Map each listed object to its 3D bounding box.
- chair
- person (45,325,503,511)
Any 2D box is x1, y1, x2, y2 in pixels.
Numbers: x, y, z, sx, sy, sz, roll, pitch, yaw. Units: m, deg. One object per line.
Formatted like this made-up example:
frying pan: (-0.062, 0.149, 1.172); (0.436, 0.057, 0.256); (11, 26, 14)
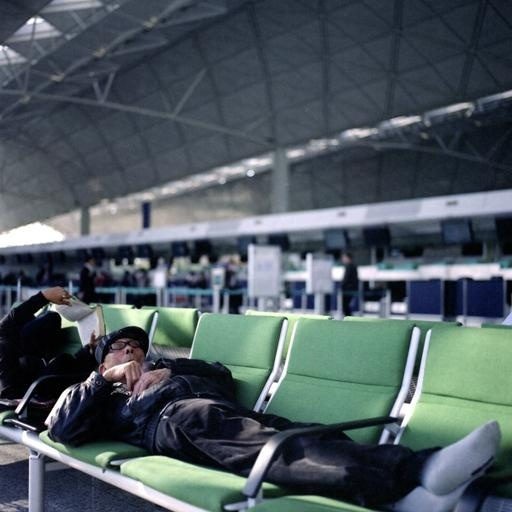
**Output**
chair: (-0.107, 0.708, 2.837); (2.092, 0.543, 0.754); (13, 16, 22)
person: (-0.049, 0.676, 2.810); (2.156, 0.658, 0.830); (-3, -11, 39)
